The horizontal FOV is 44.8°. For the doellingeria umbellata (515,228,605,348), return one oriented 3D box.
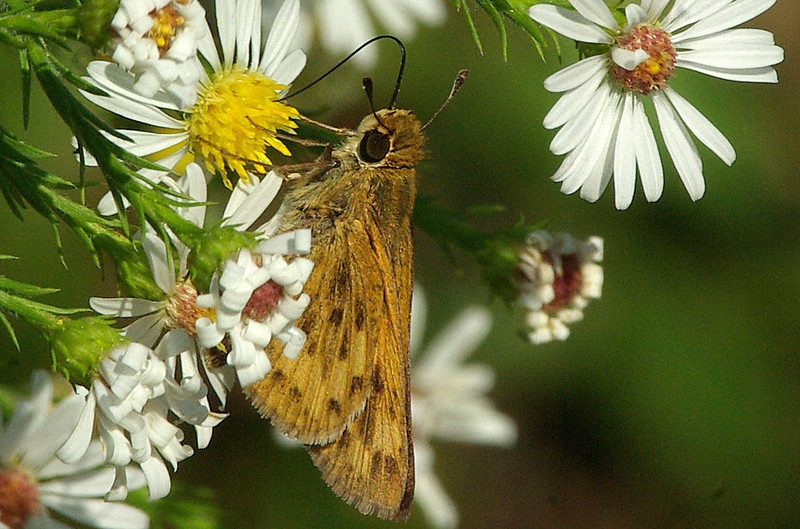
[{"bbox_3d":[0.591,0.073,3.621,0.364,0.403,0.146,-2,7,-26],"label":"doellingeria umbellata"}]
